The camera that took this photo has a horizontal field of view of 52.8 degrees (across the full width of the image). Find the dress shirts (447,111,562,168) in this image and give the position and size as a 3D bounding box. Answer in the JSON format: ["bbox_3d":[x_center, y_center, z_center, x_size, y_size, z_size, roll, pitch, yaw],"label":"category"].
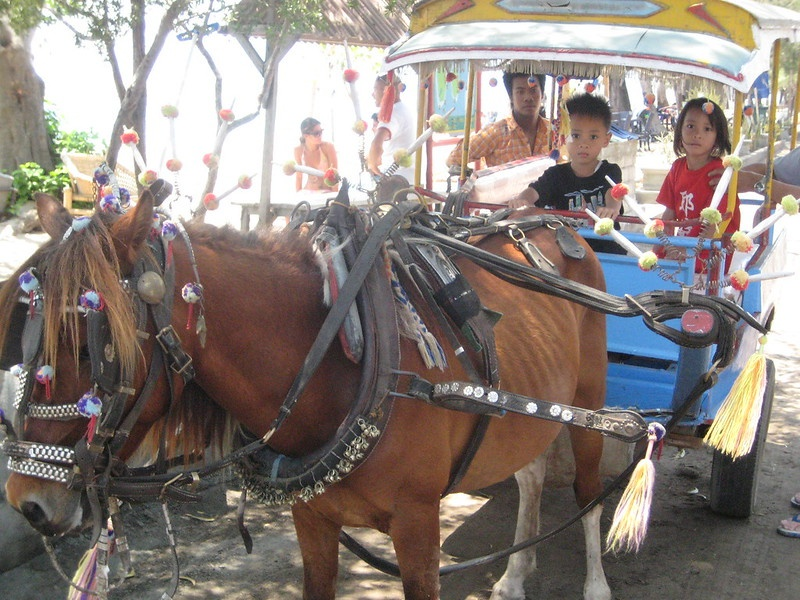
[{"bbox_3d":[0.999,-1.467,7.401,1.013,0.558,0.355,-15,41,-7],"label":"dress shirts"}]

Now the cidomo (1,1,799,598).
[{"bbox_3d":[0.001,-0.024,5.305,5.275,3.284,1.281,-13,9,-41],"label":"cidomo"}]

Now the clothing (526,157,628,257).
[{"bbox_3d":[1.233,-0.630,6.030,0.780,0.689,0.936,0,1,3],"label":"clothing"}]
